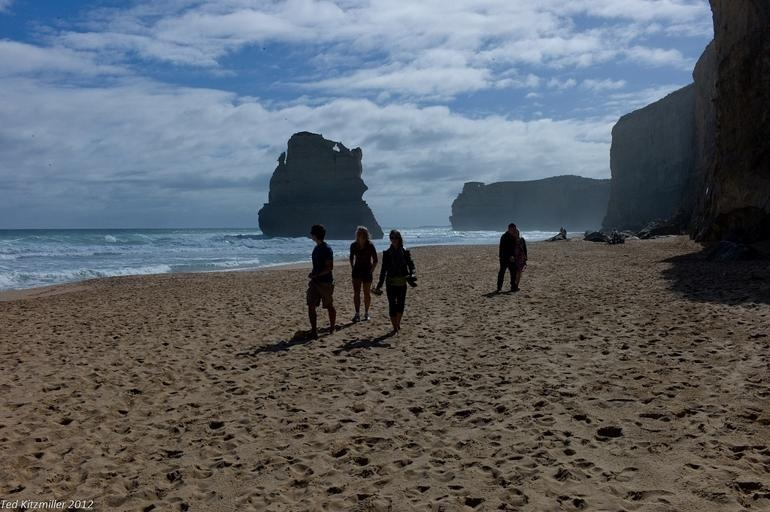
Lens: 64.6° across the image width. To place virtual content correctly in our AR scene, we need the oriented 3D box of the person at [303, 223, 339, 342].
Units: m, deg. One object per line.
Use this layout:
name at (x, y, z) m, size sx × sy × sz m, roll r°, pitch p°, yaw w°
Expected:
person at (-1.301, 0.531, 12.401) m, size 0.538 × 2.326 × 0.837 m, roll 0°, pitch 6°, yaw -6°
